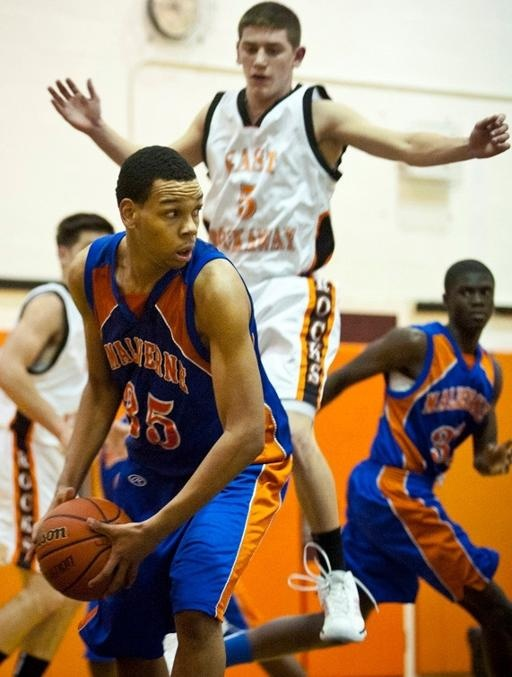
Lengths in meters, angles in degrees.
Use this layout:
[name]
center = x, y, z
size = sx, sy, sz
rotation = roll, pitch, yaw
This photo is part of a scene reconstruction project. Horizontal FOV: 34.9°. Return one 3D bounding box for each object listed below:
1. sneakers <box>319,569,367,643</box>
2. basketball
[sneakers]
center = 0.219, 0.690, 2.083
size = 0.113, 0.187, 0.174
rotation = 0, 7, 4
[basketball]
center = -0.315, 0.415, 1.580
size = 0.190, 0.157, 0.209
rotation = -5, 8, -28
